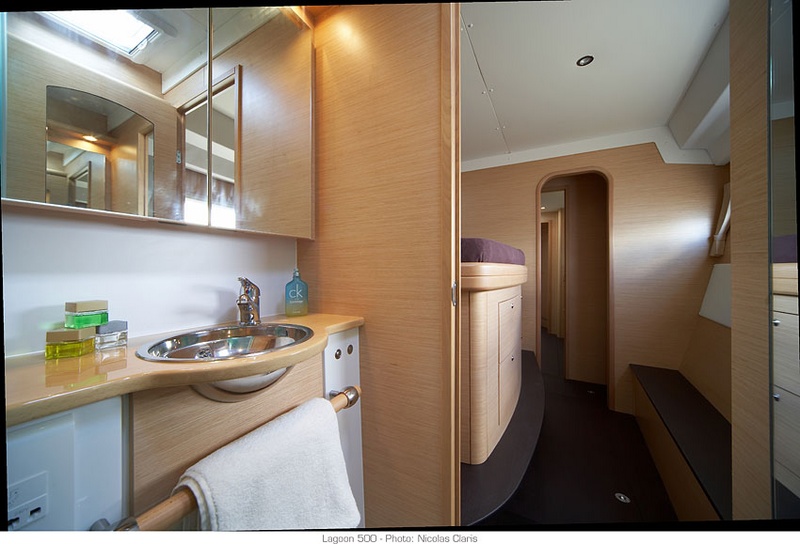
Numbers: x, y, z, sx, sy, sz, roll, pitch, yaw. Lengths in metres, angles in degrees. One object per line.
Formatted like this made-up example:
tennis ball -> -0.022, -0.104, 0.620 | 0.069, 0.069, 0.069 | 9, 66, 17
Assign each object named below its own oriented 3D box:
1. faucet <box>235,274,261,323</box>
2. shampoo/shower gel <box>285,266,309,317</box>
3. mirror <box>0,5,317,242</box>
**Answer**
faucet -> -0.701, 0.130, 2.286 | 0.091, 0.212, 0.151 | -2, 3, -18
shampoo/shower gel -> -0.511, 0.100, 2.439 | 0.115, 0.222, 0.132 | -2, 3, -12
mirror -> -1.040, -0.616, 2.051 | 0.621, 0.818, 1.189 | 1, 3, 44
